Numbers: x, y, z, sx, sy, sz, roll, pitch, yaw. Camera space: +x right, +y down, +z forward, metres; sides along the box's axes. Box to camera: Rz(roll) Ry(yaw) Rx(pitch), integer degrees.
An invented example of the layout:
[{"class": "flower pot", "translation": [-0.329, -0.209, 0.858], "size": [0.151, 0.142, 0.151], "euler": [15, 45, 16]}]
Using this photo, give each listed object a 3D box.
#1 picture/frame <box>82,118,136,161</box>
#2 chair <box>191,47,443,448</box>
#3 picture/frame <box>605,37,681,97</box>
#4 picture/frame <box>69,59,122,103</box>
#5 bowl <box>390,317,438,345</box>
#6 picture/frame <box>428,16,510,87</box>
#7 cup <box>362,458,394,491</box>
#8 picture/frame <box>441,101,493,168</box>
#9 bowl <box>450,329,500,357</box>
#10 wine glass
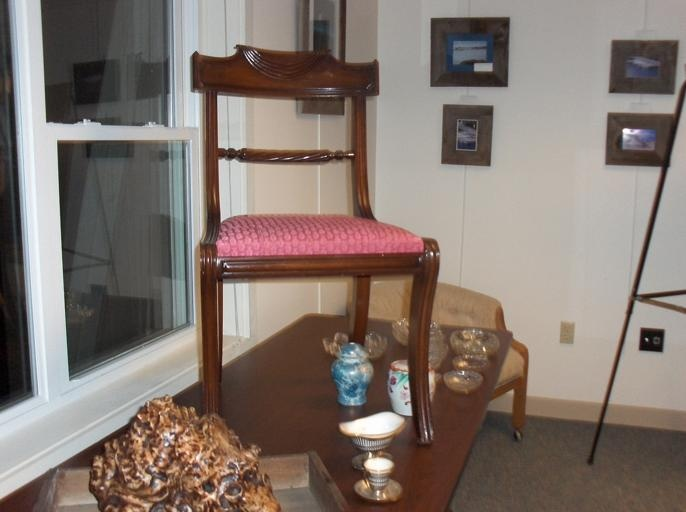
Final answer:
[{"class": "picture/frame", "translation": [-0.697, -0.353, 1.776], "size": [0.034, 0.124, 0.178], "euler": [5, 13, 18]}, {"class": "chair", "translation": [-0.106, -0.086, 1.686], "size": [0.597, 0.983, 0.822], "euler": [-2, 13, -15]}, {"class": "picture/frame", "translation": [1.430, -0.901, 2.803], "size": [0.348, 0.346, 0.027], "euler": [1, 8, 8]}, {"class": "picture/frame", "translation": [-0.720, -0.507, 1.713], "size": [0.063, 0.097, 0.129], "euler": [6, 20, 13]}, {"class": "bowl", "translation": [0.255, 0.249, 2.010], "size": [0.125, 0.074, 0.116], "euler": [0, -1, 0]}, {"class": "picture/frame", "translation": [0.638, -1.018, 2.922], "size": [0.300, 0.294, 0.036], "euler": [1, 8, 8]}, {"class": "cup", "translation": [0.077, 0.458, 1.291], "size": [0.058, 0.053, 0.058], "euler": [0, 15, 0]}, {"class": "picture/frame", "translation": [0.633, -0.623, 2.986], "size": [0.273, 0.378, 0.013], "euler": [3, 5, 10]}, {"class": "bowl", "translation": [0.439, 0.289, 1.979], "size": [0.094, 0.026, 0.101], "euler": [-1, 16, 0]}, {"class": "wine glass", "translation": [0.067, 0.429, 1.400], "size": [0.148, 0.112, 0.211], "euler": [2, 13, 2]}]
